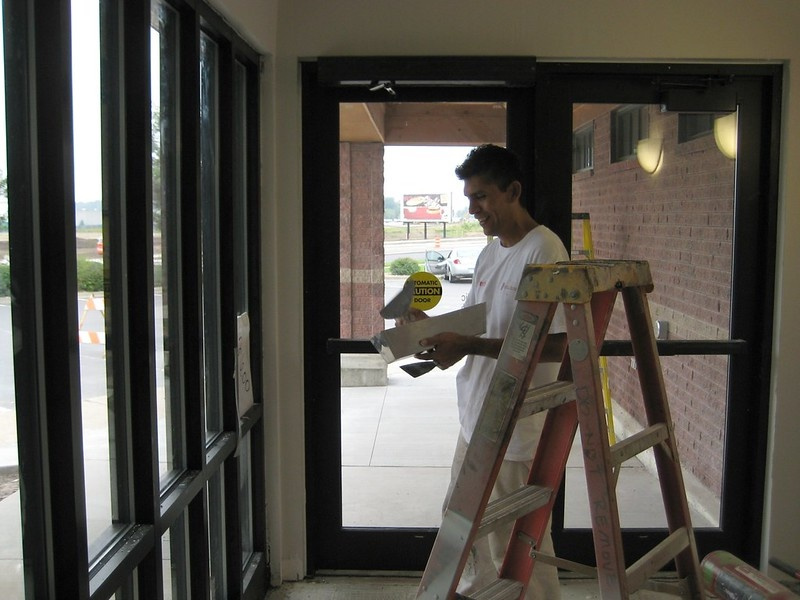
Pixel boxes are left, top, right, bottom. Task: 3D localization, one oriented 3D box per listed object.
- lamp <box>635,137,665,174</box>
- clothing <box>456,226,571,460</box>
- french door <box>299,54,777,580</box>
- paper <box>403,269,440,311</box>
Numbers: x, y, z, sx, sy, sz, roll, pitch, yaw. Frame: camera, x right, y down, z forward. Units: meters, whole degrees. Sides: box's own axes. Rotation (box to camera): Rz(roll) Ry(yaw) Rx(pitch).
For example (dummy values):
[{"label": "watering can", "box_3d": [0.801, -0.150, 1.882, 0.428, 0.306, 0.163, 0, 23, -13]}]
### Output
[{"label": "lamp", "box_3d": [1.140, -0.672, 3.213, 0.133, 0.213, 0.039, -3, 6, 1]}, {"label": "clothing", "box_3d": [0.400, 0.187, 2.725, 0.279, 0.869, 0.676, 5, 6, -20]}, {"label": "french door", "box_3d": [0.618, -0.049, 2.920, 2.125, 2.727, 0.099, 0, 3, -2]}, {"label": "paper", "box_3d": [0.096, -0.037, 2.995, 0.138, 0.157, 0.020, 9, -13, 1]}]
